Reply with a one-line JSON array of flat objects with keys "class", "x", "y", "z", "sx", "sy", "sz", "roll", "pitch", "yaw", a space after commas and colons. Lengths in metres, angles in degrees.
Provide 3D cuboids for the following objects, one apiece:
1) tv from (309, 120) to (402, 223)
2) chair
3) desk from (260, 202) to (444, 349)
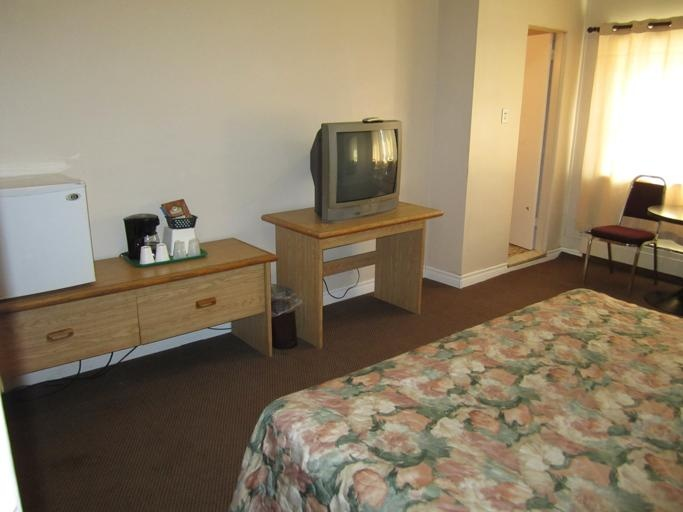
[{"class": "tv", "x": 0.105, "y": -0.586, "z": 3.438, "sx": 0.582, "sy": 0.542, "sz": 0.364, "roll": -17, "pitch": 29, "yaw": -35}, {"class": "chair", "x": 2.698, "y": -0.239, "z": 4.632, "sx": 0.594, "sy": 0.979, "sz": 0.990, "roll": 12, "pitch": 24, "yaw": 33}, {"class": "desk", "x": 0.104, "y": 0.090, "z": 3.806, "sx": 1.197, "sy": 0.856, "sz": 0.621, "roll": -13, "pitch": 21, "yaw": -39}]
